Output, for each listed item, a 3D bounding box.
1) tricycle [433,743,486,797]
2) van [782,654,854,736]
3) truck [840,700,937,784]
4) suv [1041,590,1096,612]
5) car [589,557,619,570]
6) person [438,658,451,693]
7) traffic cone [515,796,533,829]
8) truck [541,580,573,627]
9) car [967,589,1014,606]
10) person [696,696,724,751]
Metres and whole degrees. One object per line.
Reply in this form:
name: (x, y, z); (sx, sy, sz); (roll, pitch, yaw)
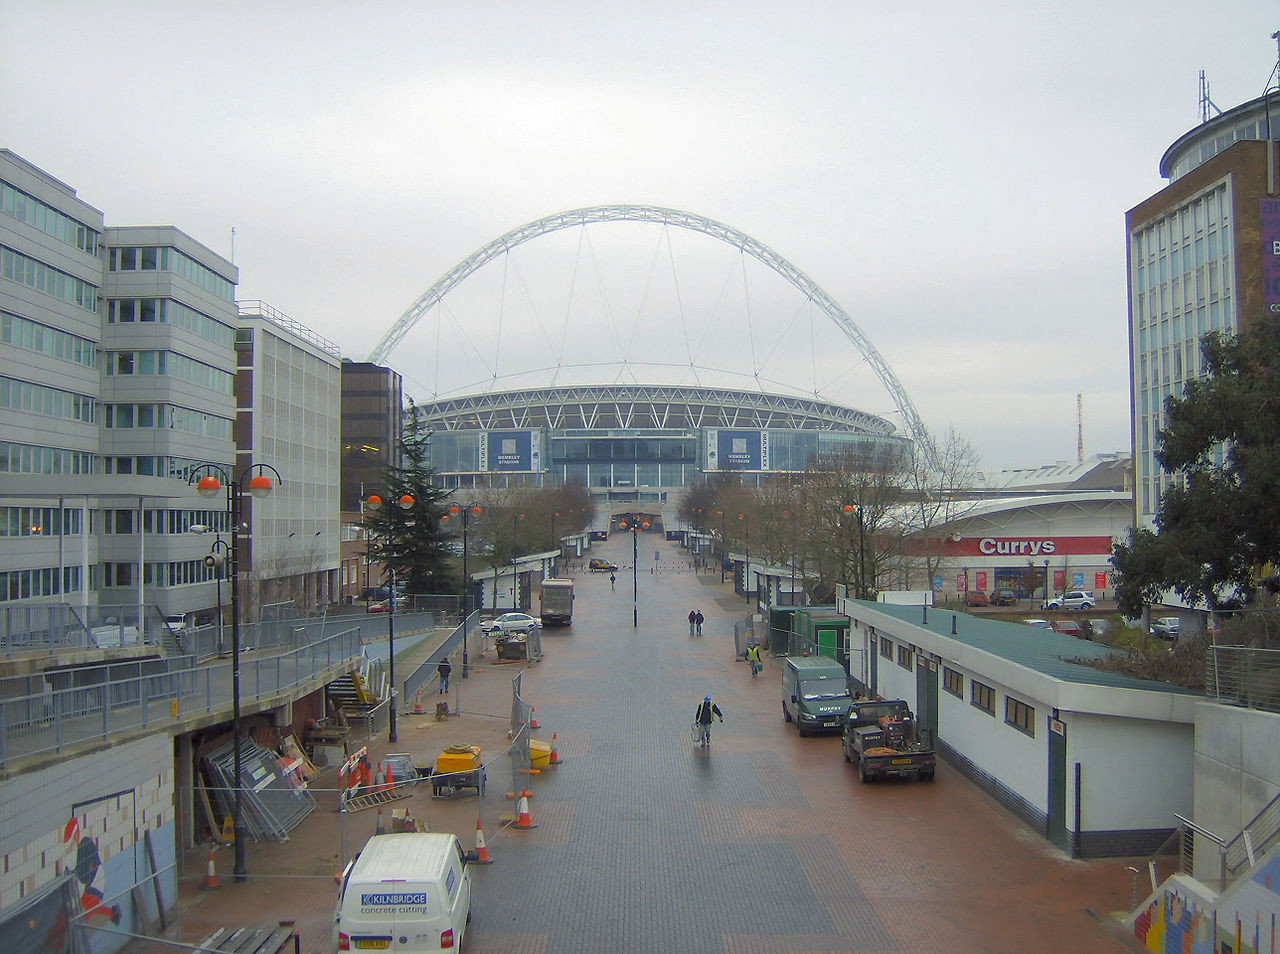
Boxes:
tricycle: (-5.044, 7.974, 32.363); (1.110, 1.192, 2.055); (1, -3, -1)
van: (5.733, 7.109, 38.622); (1.997, 2.355, 2.918); (-4, -2, 4)
truck: (7.036, 7.457, 33.409); (2.130, 2.207, 2.374); (-4, -2, -2)
suv: (25.646, 7.450, 70.594); (2.332, 1.232, 1.566); (1, -2, 2)
car: (-3.718, 8.065, 109.419); (1.948, 1.020, 1.375); (-1, 0, 1)
person: (-7.588, 7.617, 45.105); (0.432, 1.131, 2.004); (-3, -2, -14)
traffic cone: (-2.990, 8.478, 29.919); (0.488, 0.784, 0.542); (0, -4, -6)
truck: (-4.669, 6.915, 65.189); (1.243, 1.745, 2.530); (0, 4, 0)
car: (21.619, 7.467, 72.946); (1.919, 0.867, 1.368); (1, -2, 4)
person: (2.179, 7.855, 37.545); (1.045, 2.436, 0.636); (2, 6, 13)
